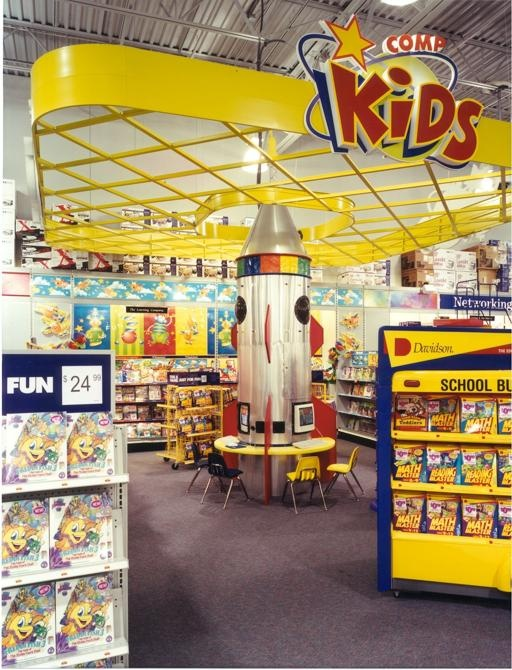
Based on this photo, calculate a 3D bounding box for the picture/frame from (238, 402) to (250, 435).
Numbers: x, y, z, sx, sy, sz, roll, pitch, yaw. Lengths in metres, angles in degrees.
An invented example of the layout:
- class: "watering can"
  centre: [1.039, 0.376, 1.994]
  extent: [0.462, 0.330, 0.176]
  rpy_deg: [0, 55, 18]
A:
- class: "picture/frame"
  centre: [-0.150, 1.058, 6.787]
  extent: [0.053, 0.480, 0.430]
  rpy_deg: [1, -3, -19]

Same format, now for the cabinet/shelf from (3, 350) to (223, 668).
- class: "cabinet/shelf"
  centre: [-0.914, 0.864, 2.557]
  extent: [0.581, 1.577, 0.489]
  rpy_deg: [-2, 4, -19]

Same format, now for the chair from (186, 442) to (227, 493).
- class: "chair"
  centre: [-0.577, 1.725, 6.974]
  extent: [0.582, 0.627, 0.555]
  rpy_deg: [5, 14, 10]

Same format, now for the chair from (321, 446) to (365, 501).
- class: "chair"
  centre: [1.107, 1.699, 6.697]
  extent: [0.491, 0.682, 0.414]
  rpy_deg: [1, -3, 24]

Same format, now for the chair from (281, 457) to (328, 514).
- class: "chair"
  centre: [0.553, 1.671, 6.110]
  extent: [0.460, 0.624, 0.511]
  rpy_deg: [0, 0, -31]

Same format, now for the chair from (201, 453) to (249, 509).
- class: "chair"
  centre: [-0.358, 1.648, 6.233]
  extent: [0.529, 0.618, 0.545]
  rpy_deg: [0, 0, -6]
